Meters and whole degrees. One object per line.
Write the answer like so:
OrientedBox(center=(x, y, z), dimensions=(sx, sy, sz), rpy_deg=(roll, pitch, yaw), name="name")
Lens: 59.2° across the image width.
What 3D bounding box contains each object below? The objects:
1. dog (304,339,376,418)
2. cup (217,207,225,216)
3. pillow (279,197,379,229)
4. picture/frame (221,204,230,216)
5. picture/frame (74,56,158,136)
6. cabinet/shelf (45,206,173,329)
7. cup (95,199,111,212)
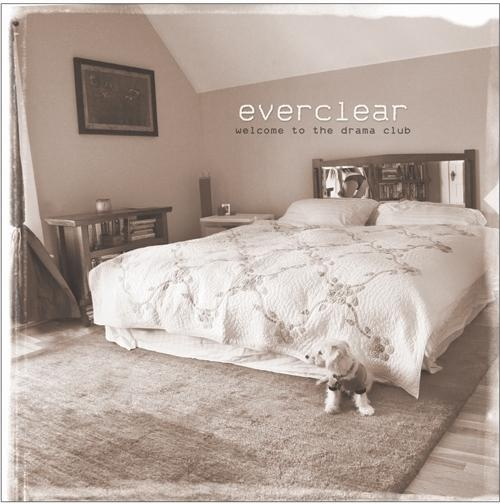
OrientedBox(center=(0.385, 0.495, 1.854), dimensions=(0.235, 0.264, 0.337), rpy_deg=(-6, 5, 10), name="dog")
OrientedBox(center=(-0.311, -0.445, 4.823), dimensions=(0.074, 0.093, 0.078), rpy_deg=(0, -6, 0), name="cup")
OrientedBox(center=(0.662, -0.336, 3.699), dimensions=(0.440, 0.130, 0.473), rpy_deg=(-2, 17, 27), name="pillow")
OrientedBox(center=(-0.263, -0.463, 4.833), dimensions=(0.096, 0.143, 0.136), rpy_deg=(3, 5, -2), name="picture/frame")
OrientedBox(center=(-1.282, -1.464, 4.115), dimensions=(0.027, 0.642, 0.860), rpy_deg=(4, 8, 36), name="picture/frame")
OrientedBox(center=(-1.111, 0.059, 3.920), dimensions=(0.918, 0.841, 0.389), rpy_deg=(-14, 17, -42), name="cabinet/shelf")
OrientedBox(center=(-1.267, -0.403, 3.819), dimensions=(0.102, 0.112, 0.107), rpy_deg=(-3, 4, 0), name="cup")
